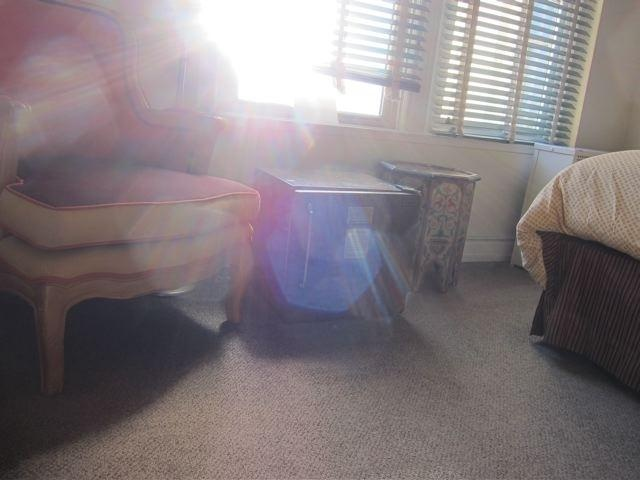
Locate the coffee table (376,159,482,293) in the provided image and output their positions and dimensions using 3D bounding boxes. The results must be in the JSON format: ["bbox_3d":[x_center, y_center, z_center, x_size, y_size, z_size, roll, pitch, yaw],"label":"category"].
[{"bbox_3d":[0.638,-0.056,2.284,0.490,0.575,0.481,-1,12,-36],"label":"coffee table"}]

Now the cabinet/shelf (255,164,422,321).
[{"bbox_3d":[0.147,0.120,2.147,0.758,0.606,0.825,10,-9,-10],"label":"cabinet/shelf"}]
